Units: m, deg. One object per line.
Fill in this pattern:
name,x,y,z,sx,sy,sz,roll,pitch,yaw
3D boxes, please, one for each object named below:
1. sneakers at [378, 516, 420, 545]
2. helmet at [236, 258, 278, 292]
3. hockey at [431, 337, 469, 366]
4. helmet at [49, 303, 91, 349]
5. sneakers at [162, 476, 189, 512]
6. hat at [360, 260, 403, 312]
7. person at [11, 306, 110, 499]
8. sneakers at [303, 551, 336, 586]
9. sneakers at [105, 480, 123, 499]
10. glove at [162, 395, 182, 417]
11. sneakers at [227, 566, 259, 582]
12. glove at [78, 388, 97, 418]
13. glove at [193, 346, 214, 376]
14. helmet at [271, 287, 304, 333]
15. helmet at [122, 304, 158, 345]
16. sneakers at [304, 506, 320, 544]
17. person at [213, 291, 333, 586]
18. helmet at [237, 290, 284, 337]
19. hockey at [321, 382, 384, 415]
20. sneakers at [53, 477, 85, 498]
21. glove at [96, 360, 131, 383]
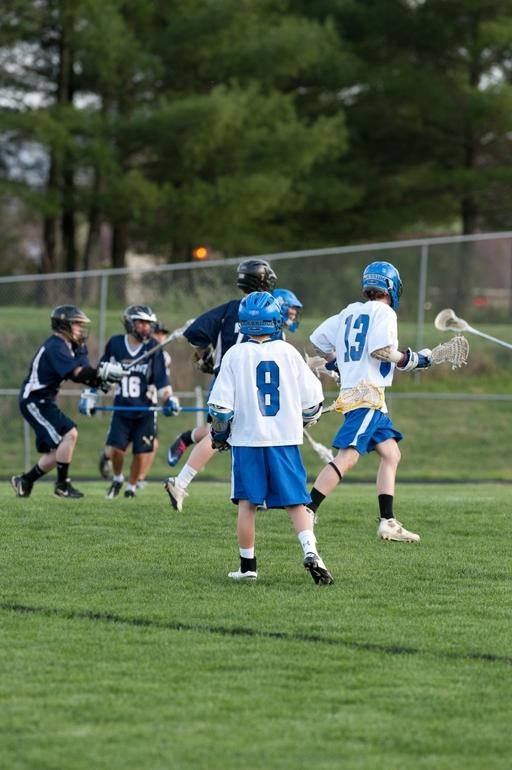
sneakers,0.858,0.925,8.546,0.313,0.143,0.109,4,-2,6
helmet,-0.016,-0.714,8.796,0.196,0.202,0.251,12,17,43
hockey,1.288,-0.224,9.282,0.229,0.262,0.386,1,11,7
helmet,-1.378,-0.432,10.177,0.225,0.343,0.373,2,12,12
sneakers,-0.545,0.732,9.170,0.133,0.278,0.103,-22,28,-3
hat,0.842,-0.660,9.031,0.255,0.308,0.331,9,18,24
person,-1.486,0.187,10.128,0.680,1.541,1.084,-3,12,-10
sneakers,0.336,1.009,7.574,0.162,0.177,0.159,0,11,1
sneakers,-1.171,0.844,11.055,0.086,0.215,0.095,14,-9,9
glove,-0.683,0.168,10.811,0.132,0.058,0.167,3,-25,-2
sneakers,-0.083,1.062,7.662,0.168,0.066,0.061,4,6,43
glove,-1.328,0.141,10.617,0.097,0.227,0.146,-9,-11,41
glove,-0.367,-0.173,9.221,0.135,0.129,0.173,-1,5,-1
helmet,0.225,-0.589,10.775,0.399,0.336,0.321,2,17,-4
helmet,-0.915,-0.502,11.012,0.336,0.312,0.253,1,2,43
sneakers,0.345,0.851,8.472,0.115,0.243,0.086,-6,13,12
person,0.076,0.309,7.667,0.771,1.608,0.594,9,15,38
helmet,0.016,-0.407,7.787,0.210,0.230,0.272,2,8,12
hockey,0.600,0.089,8.723,0.350,0.186,0.072,-12,-16,14
sneakers,-1.405,0.783,10.441,0.297,0.166,0.101,6,13,-23
glove,-1.024,-0.104,9.660,0.195,0.088,0.146,3,6,-42
